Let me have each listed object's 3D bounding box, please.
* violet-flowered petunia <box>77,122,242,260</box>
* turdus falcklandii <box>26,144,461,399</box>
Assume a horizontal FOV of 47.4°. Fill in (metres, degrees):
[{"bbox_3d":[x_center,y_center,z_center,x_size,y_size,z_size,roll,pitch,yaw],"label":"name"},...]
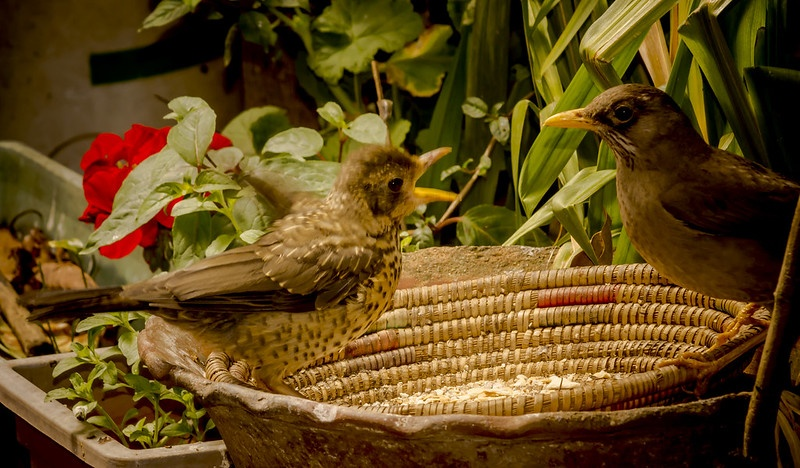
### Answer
[{"bbox_3d":[-0.736,-0.164,2.734,0.267,0.463,0.383,11,22,41],"label":"violet-flowered petunia"},{"bbox_3d":[-0.457,0.139,2.670,0.697,0.876,1.163,-1,2,-31],"label":"turdus falcklandii"}]
